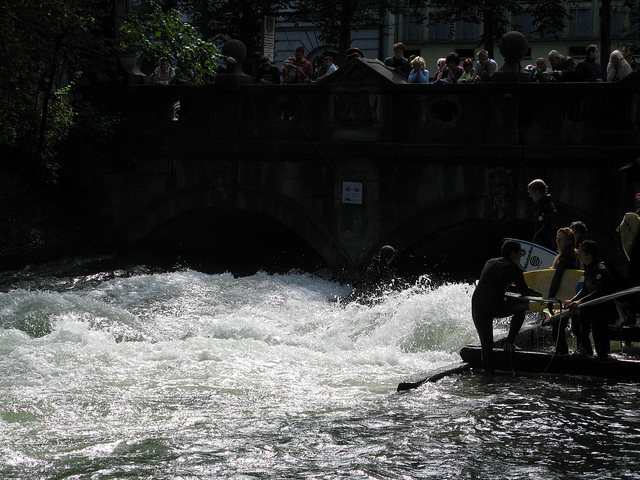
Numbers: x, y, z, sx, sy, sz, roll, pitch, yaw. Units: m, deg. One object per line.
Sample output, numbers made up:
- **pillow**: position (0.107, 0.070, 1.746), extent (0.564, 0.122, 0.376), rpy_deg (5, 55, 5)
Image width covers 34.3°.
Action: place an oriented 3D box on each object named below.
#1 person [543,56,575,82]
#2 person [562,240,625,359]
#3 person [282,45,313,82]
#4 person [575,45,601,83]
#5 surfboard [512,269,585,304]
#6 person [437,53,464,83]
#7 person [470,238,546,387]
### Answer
- **person**: position (4.840, -3.458, 21.022), extent (0.553, 0.842, 0.592), rpy_deg (-1, -14, 8)
- **person**: position (3.847, 0.891, 14.563), extent (0.677, 1.716, 0.861), rpy_deg (4, 12, 24)
- **person**: position (-0.514, -3.771, 22.944), extent (0.718, 1.000, 0.469), rpy_deg (4, 19, -2)
- **person**: position (5.442, -3.449, 20.560), extent (0.650, 0.871, 0.672), rpy_deg (5, 13, 16)
- **surfboard**: position (3.564, 0.648, 15.832), extent (0.371, 0.573, 1.192), rpy_deg (-5, 12, -19)
- **person**: position (2.702, -3.569, 21.433), extent (0.479, 0.564, 0.919), rpy_deg (-3, 11, -10)
- **person**: position (2.573, 0.988, 14.569), extent (0.868, 1.917, 0.607), rpy_deg (0, 11, 8)
